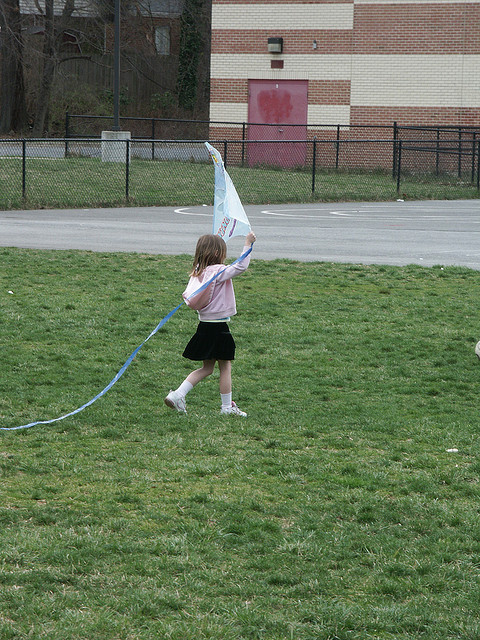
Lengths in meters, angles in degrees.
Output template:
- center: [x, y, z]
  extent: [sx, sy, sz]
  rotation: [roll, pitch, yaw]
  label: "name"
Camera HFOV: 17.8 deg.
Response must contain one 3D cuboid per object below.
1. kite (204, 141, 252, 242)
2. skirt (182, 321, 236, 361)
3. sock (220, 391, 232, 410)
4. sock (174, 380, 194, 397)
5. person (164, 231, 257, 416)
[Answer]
- center: [-0.087, -0.921, 10.895]
  extent: [0.249, 0.810, 0.244]
  rotation: [-1, 36, 7]
  label: "kite"
- center: [-0.224, 0.125, 10.663]
  extent: [0.330, 0.378, 0.266]
  rotation: [2, -12, 12]
  label: "skirt"
- center: [-0.111, 0.555, 10.713]
  extent: [0.085, 0.155, 0.093]
  rotation: [-4, 7, 3]
  label: "sock"
- center: [-0.407, 0.490, 10.757]
  extent: [0.064, 0.178, 0.063]
  rotation: [28, 2, 6]
  label: "sock"
- center: [-0.233, -0.004, 10.616]
  extent: [0.573, 1.366, 0.589]
  rotation: [0, -3, 42]
  label: "person"
